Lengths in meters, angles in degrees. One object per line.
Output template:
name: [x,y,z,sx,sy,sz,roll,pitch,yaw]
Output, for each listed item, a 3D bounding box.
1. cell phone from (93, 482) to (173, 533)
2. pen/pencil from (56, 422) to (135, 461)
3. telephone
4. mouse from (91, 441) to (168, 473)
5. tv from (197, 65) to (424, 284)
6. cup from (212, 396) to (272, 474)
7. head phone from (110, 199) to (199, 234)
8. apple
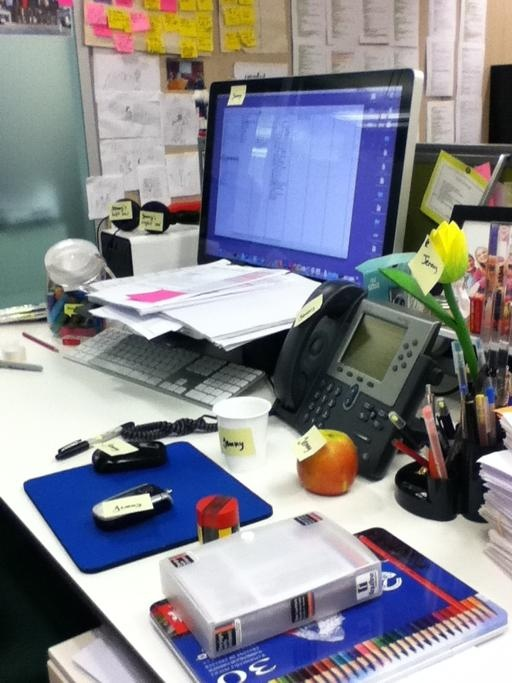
cell phone: [-0.127,0.166,0.558,0.073,0.018,0.034,-13,32,-36]
pen/pencil: [-0.215,0.135,0.734,0.016,0.019,0.112,-14,2,37]
telephone: [0.136,0.028,0.720,0.143,0.192,0.234,-9,20,-27]
mouse: [-0.160,0.136,0.683,0.059,0.014,0.043,-4,15,-19]
tv: [0.059,-0.319,1.025,0.066,0.397,0.558,-10,14,-34]
cup: [-0.015,0.112,0.723,0.084,0.083,0.084,-3,19,1]
head phone: [-0.241,-0.325,1.432,0.123,0.061,0.204,9,15,35]
apple: [0.078,0.127,0.643,0.072,0.073,0.073,-2,8,-13]
